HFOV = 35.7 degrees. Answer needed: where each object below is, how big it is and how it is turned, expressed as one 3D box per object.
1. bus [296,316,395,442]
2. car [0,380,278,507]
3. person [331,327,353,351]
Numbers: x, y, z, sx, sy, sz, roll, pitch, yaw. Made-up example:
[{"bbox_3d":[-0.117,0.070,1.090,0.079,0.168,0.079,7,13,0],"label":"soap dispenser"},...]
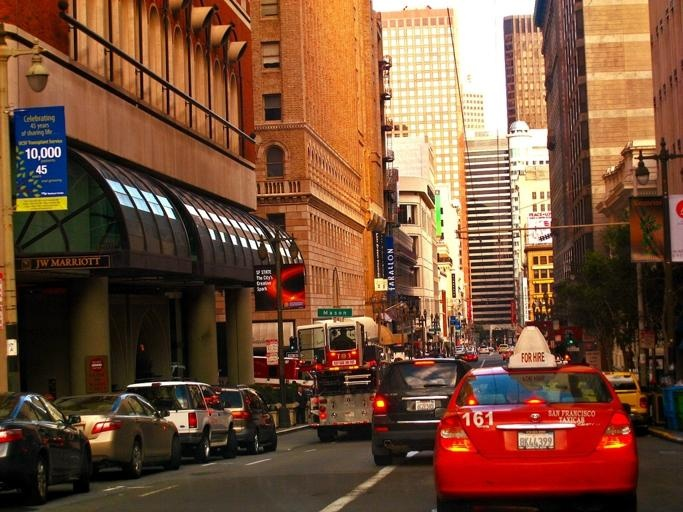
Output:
[{"bbox_3d":[0.030,4.249,37.063,2.005,3.173,6.115,-2,-8,7],"label":"bus"},{"bbox_3d":[-4.284,4.403,26.316,1.890,1.767,6.763,-4,-3,22],"label":"car"},{"bbox_3d":[0.009,3.254,38.478,0.639,0.774,1.246,1,-4,4],"label":"person"}]
